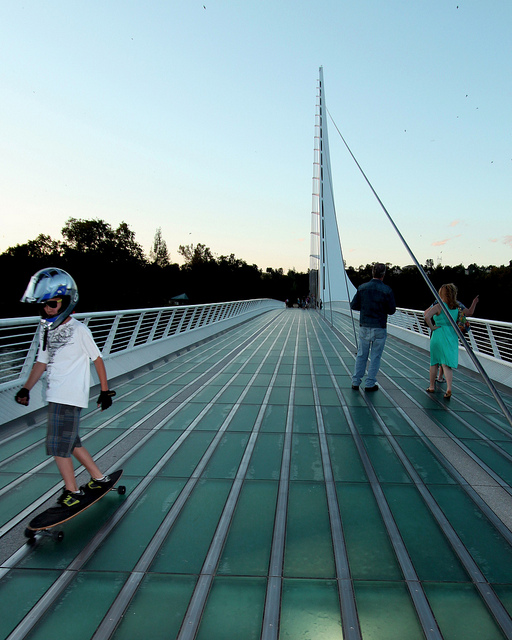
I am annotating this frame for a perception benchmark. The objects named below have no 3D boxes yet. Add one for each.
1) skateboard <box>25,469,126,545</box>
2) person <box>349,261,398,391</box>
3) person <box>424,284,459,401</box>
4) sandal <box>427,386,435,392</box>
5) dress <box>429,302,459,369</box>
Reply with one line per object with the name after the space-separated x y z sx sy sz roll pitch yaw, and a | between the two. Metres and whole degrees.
-1.081 1.052 2.624 0.162 0.091 0.530 5 5 21 | skateboard
1.670 0.068 6.381 0.602 1.809 0.763 2 8 15 | person
2.488 0.250 5.950 0.433 1.472 0.572 4 8 26 | person
2.464 0.950 6.226 0.087 0.034 0.119 1 4 13 | sandal
2.503 0.249 5.869 0.327 0.741 0.301 3 8 22 | dress
